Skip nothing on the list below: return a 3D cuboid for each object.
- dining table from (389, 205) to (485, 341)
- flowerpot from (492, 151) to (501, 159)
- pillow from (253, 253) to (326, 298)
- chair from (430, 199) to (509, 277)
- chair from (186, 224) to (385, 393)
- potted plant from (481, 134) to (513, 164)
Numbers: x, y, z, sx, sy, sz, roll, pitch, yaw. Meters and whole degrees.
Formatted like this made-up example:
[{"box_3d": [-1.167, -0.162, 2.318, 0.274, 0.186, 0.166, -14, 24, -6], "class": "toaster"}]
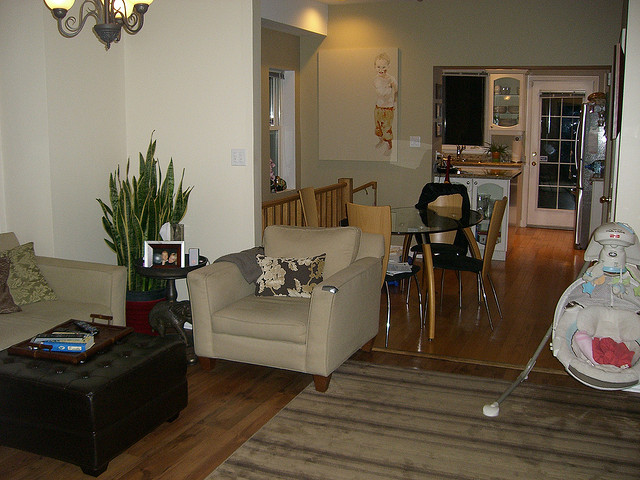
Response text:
[{"box_3d": [1.024, 0.227, 4.676, 1.095, 0.745, 1.130, 2, 9, 18], "class": "dining table"}, {"box_3d": [2.840, -1.377, 8.096, 0.105, 0.081, 0.107, 10, 17, 36], "class": "flowerpot"}, {"box_3d": [-0.234, 0.272, 3.753, 0.548, 0.318, 0.322, 6, 13, 9], "class": "pillow"}, {"box_3d": [1.388, -0.011, 4.644, 0.539, 0.643, 0.520, 2, -22, 26], "class": "chair"}, {"box_3d": [-0.215, 0.436, 3.809, 1.400, 0.982, 1.386, 0, 9, 2], "class": "chair"}, {"box_3d": [2.872, -1.454, 8.183, 0.395, 0.334, 0.441, -17, 15, -42], "class": "potted plant"}]
